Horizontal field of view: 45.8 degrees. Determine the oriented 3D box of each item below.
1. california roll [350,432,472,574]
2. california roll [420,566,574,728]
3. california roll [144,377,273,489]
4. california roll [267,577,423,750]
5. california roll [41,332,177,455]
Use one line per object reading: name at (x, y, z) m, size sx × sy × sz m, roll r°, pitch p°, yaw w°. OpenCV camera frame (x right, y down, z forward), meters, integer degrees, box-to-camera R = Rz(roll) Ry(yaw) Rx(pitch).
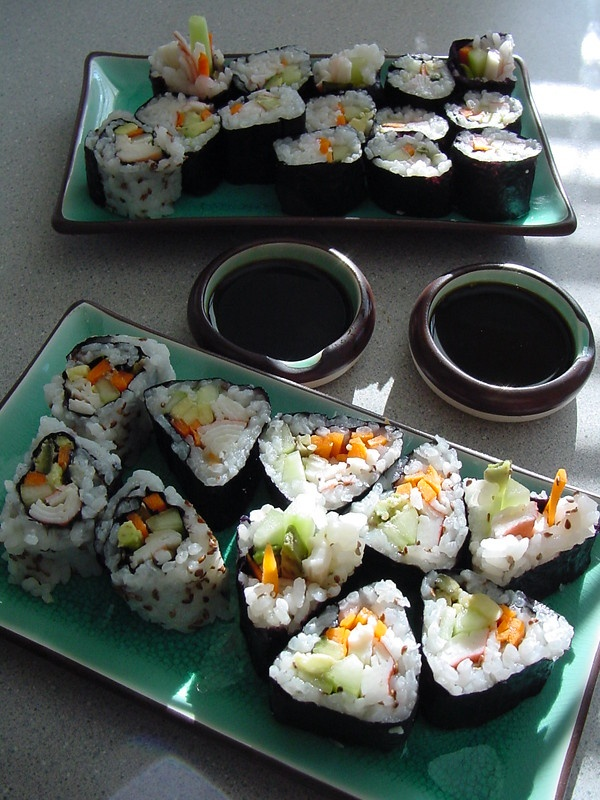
california roll at (0.205, 0.175, 1.203) m, size 0.158 × 0.070 × 0.199 m, roll 18°, pitch 54°, yaw 12°
california roll at (0.298, 0.376, 1.091) m, size 0.248 × 0.123 × 0.213 m, roll -5°, pitch 51°, yaw 1°
california roll at (-0.168, 0.036, 1.350) m, size 0.236 × 0.087 × 0.194 m, roll 36°, pitch 82°, yaw 19°
california roll at (0.077, 0.375, 1.052) m, size 0.204 × 0.136 × 0.226 m, roll 9°, pitch 53°, yaw 11°
california roll at (-0.433, -0.014, 1.449) m, size 0.275 × 0.257 × 0.180 m, roll -25°, pitch 74°, yaw -31°
